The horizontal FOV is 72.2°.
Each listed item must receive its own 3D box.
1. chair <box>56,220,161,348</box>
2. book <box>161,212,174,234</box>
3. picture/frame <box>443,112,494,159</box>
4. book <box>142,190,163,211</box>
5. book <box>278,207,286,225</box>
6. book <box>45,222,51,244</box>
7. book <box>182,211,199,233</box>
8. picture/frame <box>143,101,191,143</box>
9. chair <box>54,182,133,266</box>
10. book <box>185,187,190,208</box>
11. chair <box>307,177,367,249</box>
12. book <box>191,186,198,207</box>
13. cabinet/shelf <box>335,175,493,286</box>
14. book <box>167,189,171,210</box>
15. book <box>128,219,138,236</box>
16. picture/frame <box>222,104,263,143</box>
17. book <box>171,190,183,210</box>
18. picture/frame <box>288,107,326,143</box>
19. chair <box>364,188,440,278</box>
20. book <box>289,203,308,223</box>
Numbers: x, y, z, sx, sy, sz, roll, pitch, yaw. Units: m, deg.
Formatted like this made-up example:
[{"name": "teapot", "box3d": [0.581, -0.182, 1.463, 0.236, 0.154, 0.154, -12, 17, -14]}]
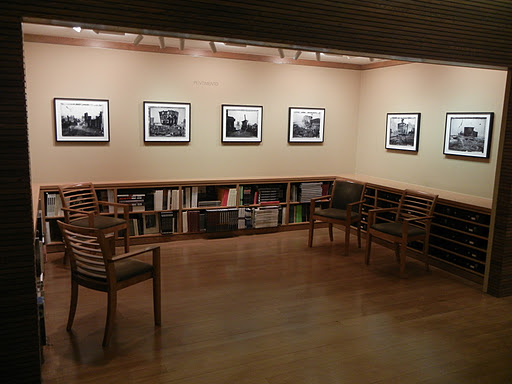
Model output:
[{"name": "chair", "box3d": [-1.422, 0.804, 3.439, 0.736, 0.995, 0.811, 7, 7, 42]}, {"name": "book", "box3d": [-1.418, 0.490, 5.644, 0.246, 0.344, 0.166, -6, 16, -27]}, {"name": "picture/frame", "box3d": [2.946, -0.780, 4.815, 0.072, 0.633, 0.691, -3, 7, -31]}, {"name": "book", "box3d": [-1.645, 0.108, 5.679, 0.301, 0.389, 0.412, 2, 3, -27]}, {"name": "book", "box3d": [0.459, 0.419, 6.276, 0.166, 0.280, 0.301, 0, 7, -3]}, {"name": "book", "box3d": [-3.001, 0.578, 5.062, 0.057, 0.298, 0.123, -4, 15, -18]}, {"name": "book", "box3d": [-1.025, 0.445, 5.812, 0.309, 0.379, 0.402, -1, 5, -2]}, {"name": "picture/frame", "box3d": [-1.460, -1.131, 5.599, 0.727, 0.592, 0.056, 0, 2, -20]}, {"name": "chair", "box3d": [-2.052, 0.416, 4.850, 0.683, 0.877, 0.609, -3, 14, -29]}, {"name": "book", "box3d": [-1.110, 0.074, 5.691, 0.106, 0.289, 0.312, 0, 6, -9]}, {"name": "chair", "box3d": [1.270, 0.345, 5.553, 0.875, 0.979, 0.847, 1, 8, 1]}, {"name": "book", "box3d": [-1.012, 0.069, 5.717, 0.100, 0.284, 0.299, 0, 10, -7]}, {"name": "cabinet/shelf", "box3d": [2.446, 0.513, 4.945, 0.319, 0.994, 1.764, -6, 15, -27]}, {"name": "book", "box3d": [-1.377, 0.121, 5.577, 0.072, 0.303, 0.045, -2, 14, -14]}, {"name": "book", "box3d": [-1.911, 0.544, 5.436, 0.153, 0.261, 0.279, -2, 4, -2]}, {"name": "picture/frame", "box3d": [-0.272, -1.204, 6.035, 0.724, 0.578, 0.066, -2, 5, -23]}, {"name": "book", "box3d": [-1.277, 0.113, 5.612, 0.174, 0.323, 0.056, -3, 14, -14]}, {"name": "picture/frame", "box3d": [0.900, -1.254, 6.459, 0.711, 0.571, 0.051, -3, 9, -16]}, {"name": "chair", "box3d": [2.022, 0.509, 4.841, 0.747, 0.965, 0.669, -4, 10, -24]}, {"name": "book", "box3d": [0.809, 0.354, 6.529, 0.318, 0.414, 0.454, -2, -2, 37]}]
